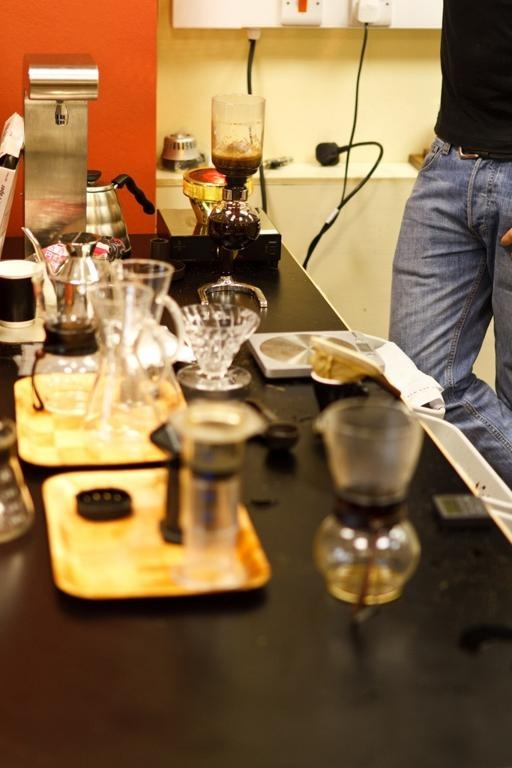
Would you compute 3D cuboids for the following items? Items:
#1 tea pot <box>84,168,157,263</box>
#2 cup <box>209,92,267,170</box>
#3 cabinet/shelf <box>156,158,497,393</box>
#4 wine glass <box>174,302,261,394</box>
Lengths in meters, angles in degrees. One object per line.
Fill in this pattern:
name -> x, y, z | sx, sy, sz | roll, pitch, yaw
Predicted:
tea pot -> -0.329, -0.397, 1.401 | 0.195, 0.186, 0.123 | -23, 31, -30
cup -> -0.037, -0.490, 1.192 | 0.107, 0.149, 0.098 | 1, 28, -1
cabinet/shelf -> 0.190, -0.517, 2.396 | 1.234, 0.620, 1.001 | 3, 22, -1
wine glass -> -0.056, -0.051, 0.819 | 0.121, 0.097, 0.123 | 2, 27, -6
